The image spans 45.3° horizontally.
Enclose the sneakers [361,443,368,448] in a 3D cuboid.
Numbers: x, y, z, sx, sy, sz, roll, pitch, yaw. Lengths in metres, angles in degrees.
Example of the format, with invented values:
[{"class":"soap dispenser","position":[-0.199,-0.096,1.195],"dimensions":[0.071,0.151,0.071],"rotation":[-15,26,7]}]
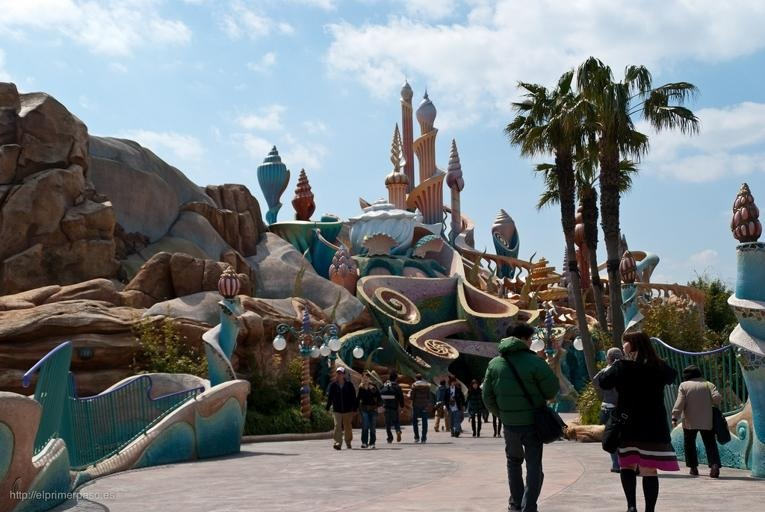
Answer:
[{"class":"sneakers","position":[-0.451,4.810,23.109],"dimensions":[0.194,0.098,0.265],"rotation":[0,-14,-6]}]

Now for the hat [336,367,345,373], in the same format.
[{"class":"hat","position":[-1.008,2.754,21.986],"dimensions":[0.183,0.111,0.308],"rotation":[0,-8,10]}]

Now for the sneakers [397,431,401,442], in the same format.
[{"class":"sneakers","position":[0.440,4.976,24.976],"dimensions":[0.098,0.306,0.113],"rotation":[-1,16,2]}]

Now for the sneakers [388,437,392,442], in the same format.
[{"class":"sneakers","position":[0.198,4.999,24.838],"dimensions":[0.117,0.105,0.126],"rotation":[3,-15,-8]}]

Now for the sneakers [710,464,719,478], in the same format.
[{"class":"sneakers","position":[6.252,4.089,17.378],"dimensions":[0.106,0.124,0.298],"rotation":[1,-40,8]}]

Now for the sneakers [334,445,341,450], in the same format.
[{"class":"sneakers","position":[-1.133,4.809,22.966],"dimensions":[0.167,0.117,0.289],"rotation":[0,-14,-3]}]

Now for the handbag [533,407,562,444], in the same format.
[{"class":"handbag","position":[2.682,2.752,14.984],"dimensions":[0.488,0.682,0.471],"rotation":[-12,-10,11]}]
